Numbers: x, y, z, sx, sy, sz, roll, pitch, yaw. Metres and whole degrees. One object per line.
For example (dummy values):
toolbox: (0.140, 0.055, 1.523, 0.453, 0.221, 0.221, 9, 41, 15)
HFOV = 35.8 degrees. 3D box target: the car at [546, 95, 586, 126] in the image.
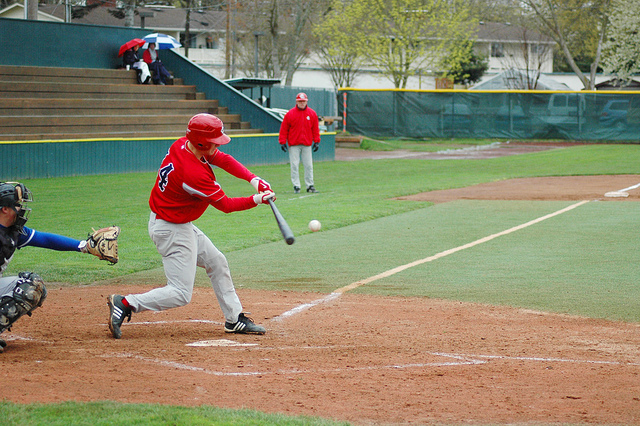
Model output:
car: (11.357, -4.919, 45.737, 2.158, 1.445, 1.463, 2, 6, 28)

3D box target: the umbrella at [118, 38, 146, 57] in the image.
umbrella: (-6.752, -5.978, 35.178, 0.641, 0.566, 1.094, -7, 8, -42)

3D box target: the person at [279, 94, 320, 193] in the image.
person: (-0.578, -1.938, 27.198, 1.098, 2.705, 0.881, -2, 7, -1)

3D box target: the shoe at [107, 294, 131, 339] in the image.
shoe: (-3.612, 1.864, 17.901, 0.571, 0.811, 0.321, -1, 0, 0)

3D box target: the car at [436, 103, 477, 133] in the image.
car: (6.433, -4.595, 46.690, 1.262, 0.752, 1.860, 0, 17, 4)

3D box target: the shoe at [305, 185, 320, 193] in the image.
shoe: (-0.208, -0.685, 27.130, 0.361, 0.209, 0.432, -1, 5, -1)

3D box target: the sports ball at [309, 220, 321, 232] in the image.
sports ball: (-0.139, 0.265, 20.313, 0.250, 0.198, 0.232, 12, -4, 1)
